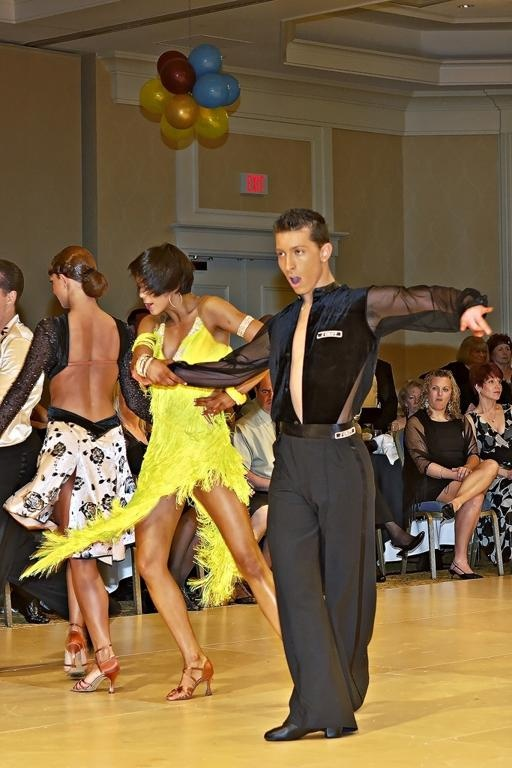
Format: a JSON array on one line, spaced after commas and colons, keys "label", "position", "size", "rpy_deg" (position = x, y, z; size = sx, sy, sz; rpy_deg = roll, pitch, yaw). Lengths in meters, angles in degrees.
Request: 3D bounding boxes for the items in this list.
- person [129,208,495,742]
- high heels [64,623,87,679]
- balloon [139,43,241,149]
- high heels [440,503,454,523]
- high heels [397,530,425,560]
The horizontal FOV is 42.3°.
[{"label": "person", "position": [0.242, 0.210, 1.535], "size": [0.505, 1.252, 0.340], "rpy_deg": [-2, -4, 17]}, {"label": "high heels", "position": [-0.670, 0.995, 2.453], "size": [0.076, 0.103, 0.212], "rpy_deg": [-4, -8, -10]}, {"label": "balloon", "position": [-0.591, -2.277, 5.563], "size": [0.706, 0.655, 1.200], "rpy_deg": [0, -4, -20]}, {"label": "high heels", "position": [1.413, 0.959, 4.912], "size": [0.073, 0.061, 0.170], "rpy_deg": [-5, -42, -5]}, {"label": "high heels", "position": [1.184, 1.243, 5.141], "size": [0.150, 0.105, 0.361], "rpy_deg": [15, -25, -13]}]
